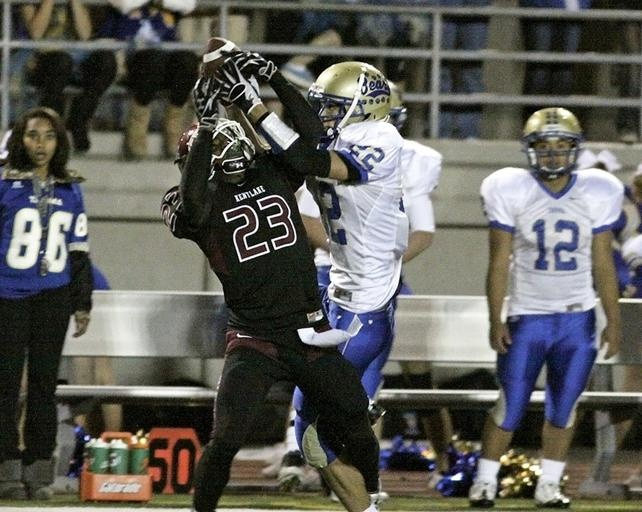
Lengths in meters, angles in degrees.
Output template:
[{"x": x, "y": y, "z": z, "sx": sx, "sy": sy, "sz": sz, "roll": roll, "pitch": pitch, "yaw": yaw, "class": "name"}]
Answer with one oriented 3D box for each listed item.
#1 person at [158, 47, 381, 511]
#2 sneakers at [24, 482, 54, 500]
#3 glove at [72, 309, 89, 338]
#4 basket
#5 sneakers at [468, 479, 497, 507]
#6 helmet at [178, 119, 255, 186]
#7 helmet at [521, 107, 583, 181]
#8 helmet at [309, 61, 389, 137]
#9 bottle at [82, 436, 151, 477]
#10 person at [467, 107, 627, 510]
[{"x": -0.201, "y": 0.090, "z": 5.852, "sx": 1.057, "sy": 2.039, "sz": 0.495, "roll": 5, "pitch": 4, "yaw": -2, "class": "person"}, {"x": -1.356, "y": 1.137, "z": 6.430, "sx": 0.138, "sy": 0.076, "sz": 0.078, "roll": 3, "pitch": 4, "yaw": -19, "class": "sneakers"}, {"x": -1.181, "y": 0.339, "z": 6.658, "sx": 0.096, "sy": 0.128, "sz": 0.076, "roll": 16, "pitch": 2, "yaw": -7, "class": "glove"}, {"x": -0.996, "y": 1.019, "z": 6.500, "sx": 0.374, "sy": 0.289, "sz": 0.257, "roll": 5, "pitch": -5, "yaw": -22, "class": "basket"}, {"x": 0.777, "y": 1.147, "z": 6.400, "sx": 0.128, "sy": 0.111, "sz": 0.139, "roll": 7, "pitch": -10, "yaw": -3, "class": "sneakers"}, {"x": -0.489, "y": -0.501, "z": 5.906, "sx": 0.325, "sy": 0.226, "sz": 0.235, "roll": -14, "pitch": 19, "yaw": 44, "class": "helmet"}, {"x": 1.149, "y": -0.533, "z": 6.501, "sx": 0.323, "sy": 0.312, "sz": 0.361, "roll": -1, "pitch": 1, "yaw": 12, "class": "helmet"}, {"x": 0.142, "y": -0.737, "z": 6.159, "sx": 0.421, "sy": 0.264, "sz": 0.304, "roll": -4, "pitch": 22, "yaw": -22, "class": "helmet"}, {"x": -0.987, "y": 0.967, "z": 6.413, "sx": 0.378, "sy": 0.199, "sz": 0.173, "roll": 1, "pitch": -15, "yaw": -4, "class": "bottle"}, {"x": 1.095, "y": 0.254, "z": 6.458, "sx": 0.740, "sy": 1.934, "sz": 0.316, "roll": 6, "pitch": 4, "yaw": 4, "class": "person"}]
